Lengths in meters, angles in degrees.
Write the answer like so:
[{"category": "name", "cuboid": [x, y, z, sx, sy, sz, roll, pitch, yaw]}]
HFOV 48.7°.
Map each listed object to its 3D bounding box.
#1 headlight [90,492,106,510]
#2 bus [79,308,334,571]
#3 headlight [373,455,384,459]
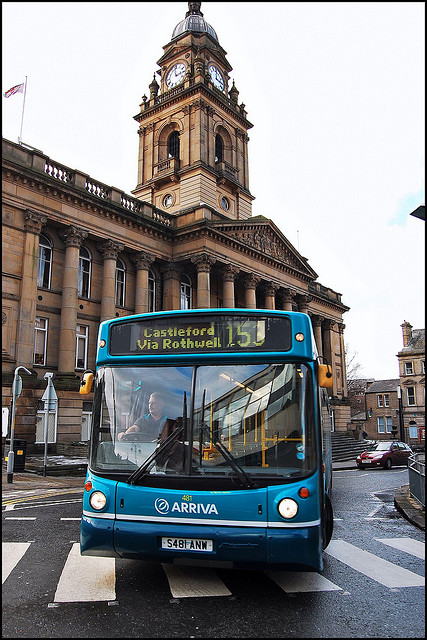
[{"category": "headlight", "cuboid": [-1.116, 1.762, 4.601, 0.150, 0.161, 0.046, -29, -23, 19]}, {"category": "bus", "cuboid": [0.202, 1.470, 5.987, 1.638, 1.738, 3.561, -2, -17, 12]}, {"category": "headlight", "cuboid": [9.035, 7.567, 26.055, 0.665, 0.200, 0.180, 11, -17, -34]}]
